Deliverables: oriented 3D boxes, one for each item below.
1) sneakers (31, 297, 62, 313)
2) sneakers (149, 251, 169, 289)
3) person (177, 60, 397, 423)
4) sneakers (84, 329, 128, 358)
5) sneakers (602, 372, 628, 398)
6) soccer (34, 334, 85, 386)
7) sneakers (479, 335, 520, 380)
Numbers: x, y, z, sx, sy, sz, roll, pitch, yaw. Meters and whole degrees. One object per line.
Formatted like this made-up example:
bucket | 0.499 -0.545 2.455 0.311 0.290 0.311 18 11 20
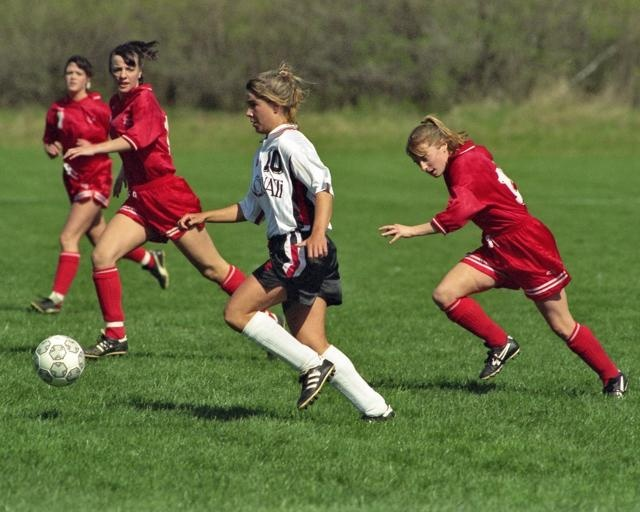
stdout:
sneakers | -2.961 0.530 11.833 0.381 0.177 0.134 7 9 -13
sneakers | -1.886 0.159 13.002 0.228 0.472 0.163 -21 23 -29
person | -0.154 -0.035 8.990 1.125 2.824 0.633 8 16 27
sneakers | -2.022 0.881 10.579 0.441 0.212 0.160 2 -6 -28
sneakers | 2.613 1.147 9.771 0.109 0.124 0.297 -37 1 35
soccer | -2.234 0.919 9.743 0.459 0.432 0.464 -1 54 -9
sneakers | 1.649 0.936 10.128 0.202 0.412 0.144 44 -3 -17
